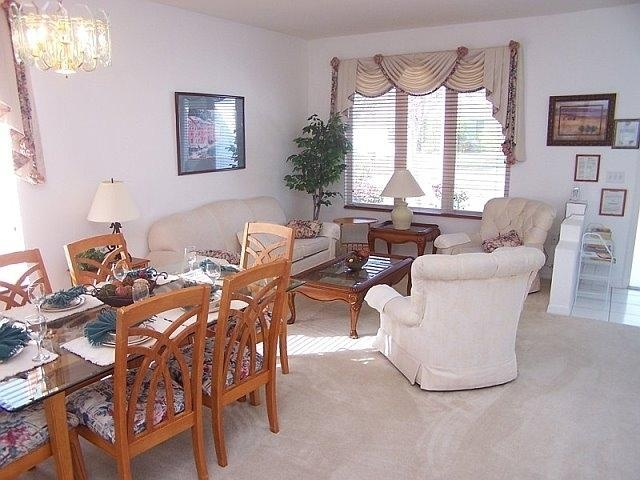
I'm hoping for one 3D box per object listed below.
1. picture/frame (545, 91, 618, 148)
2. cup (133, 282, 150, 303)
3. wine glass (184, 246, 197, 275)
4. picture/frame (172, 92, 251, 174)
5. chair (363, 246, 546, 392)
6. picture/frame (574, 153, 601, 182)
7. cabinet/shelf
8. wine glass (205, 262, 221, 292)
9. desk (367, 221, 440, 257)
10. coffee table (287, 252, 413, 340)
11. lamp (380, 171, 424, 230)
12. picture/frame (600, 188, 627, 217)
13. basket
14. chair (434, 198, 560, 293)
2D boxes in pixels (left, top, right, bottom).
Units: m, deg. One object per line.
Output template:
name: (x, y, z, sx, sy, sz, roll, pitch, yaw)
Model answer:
picture/frame: (3.164, -1.465, 5.418, 0.692, 0.606, 0.051, 6, 11, 30)
cup: (-0.951, 0.279, 2.451, 0.100, 0.114, 0.102, 0, 0, 0)
wine glass: (-0.958, 0.128, 3.311, 0.087, 0.213, 0.321, -7, 13, -19)
picture/frame: (-1.342, -1.291, 5.420, 0.071, 0.909, 1.070, 5, 10, 33)
chair: (0.963, 0.447, 3.726, 1.111, 1.059, 1.133, -5, 14, -14)
picture/frame: (3.243, -0.891, 5.475, 0.331, 0.406, 0.028, 6, 13, 40)
cabinet/shelf: (3.132, 0.252, 5.164, 0.310, 0.838, 0.855, 1, 8, 28)
wine glass: (-0.689, 0.240, 2.992, 0.096, 0.174, 0.129, 4, 6, 10)
desk: (1.157, -0.166, 6.149, 0.537, 0.544, 0.672, 3, 9, 28)
coffee table: (0.236, 0.396, 4.334, 0.781, 0.405, 1.125, 4, 10, 33)
lamp: (1.036, -0.522, 5.930, 0.503, 0.780, 0.386, -7, 14, -21)
picture/frame: (3.513, -0.462, 5.400, 0.310, 0.416, 0.029, 6, 10, 35)
basket: (-1.165, 0.224, 2.765, 0.331, 0.110, 0.274, -10, 10, -36)
chair: (2.099, -0.010, 5.538, 1.277, 1.204, 1.162, -8, 14, -29)
